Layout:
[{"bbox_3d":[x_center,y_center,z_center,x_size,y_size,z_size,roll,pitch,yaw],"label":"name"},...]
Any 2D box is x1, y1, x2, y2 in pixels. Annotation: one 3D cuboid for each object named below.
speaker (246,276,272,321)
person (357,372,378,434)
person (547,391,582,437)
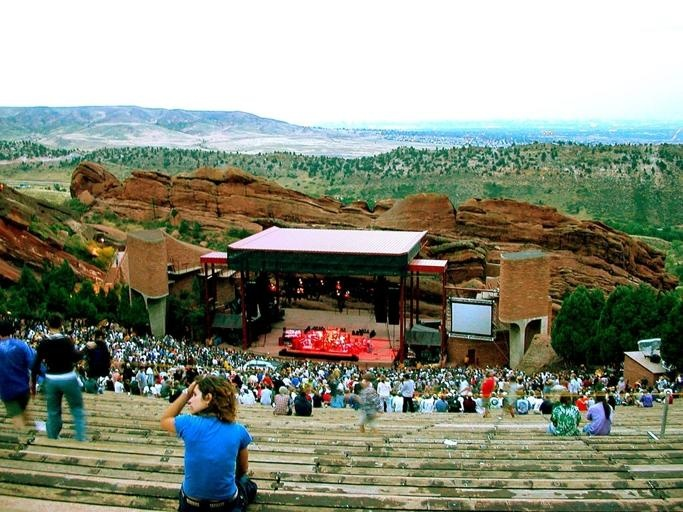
[{"bbox_3d":[-4.448,2.359,37.165,1.785,1.949,3.434,8,7,-3],"label":"speaker"},{"bbox_3d":[0.571,3.118,14.478,0.399,1.137,0.494,-1,-1,5],"label":"person"},{"bbox_3d":[4.554,3.279,14.136,0.622,0.801,0.678,-1,-1,17],"label":"person"}]
